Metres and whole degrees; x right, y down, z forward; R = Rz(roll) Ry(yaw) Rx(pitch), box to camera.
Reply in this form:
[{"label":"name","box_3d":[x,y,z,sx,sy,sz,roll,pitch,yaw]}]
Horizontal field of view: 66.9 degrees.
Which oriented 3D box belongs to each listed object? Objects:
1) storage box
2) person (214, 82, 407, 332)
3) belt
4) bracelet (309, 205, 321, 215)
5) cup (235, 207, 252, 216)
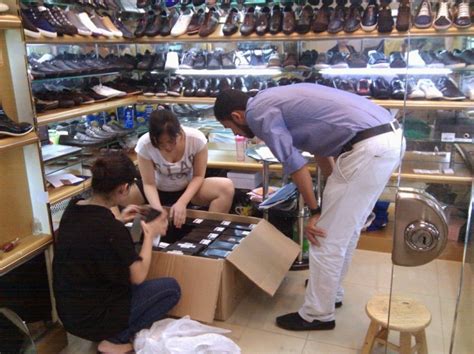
[{"label":"storage box","box_3d":[-0.137,0.495,2.169,0.735,0.283,0.665,10,24,22]},{"label":"person","box_3d":[0.462,0.183,1.960,0.755,1.344,0.439,1,21,17]},{"label":"belt","box_3d":[0.666,-0.195,1.822,0.269,0.143,0.117,-1,20,12]},{"label":"bracelet","box_3d":[0.421,0.179,1.956,0.055,0.028,0.060,-11,-7,-11]},{"label":"cup","box_3d":[0.050,0.290,3.016,0.128,0.079,0.075,-2,-3,-3]}]
